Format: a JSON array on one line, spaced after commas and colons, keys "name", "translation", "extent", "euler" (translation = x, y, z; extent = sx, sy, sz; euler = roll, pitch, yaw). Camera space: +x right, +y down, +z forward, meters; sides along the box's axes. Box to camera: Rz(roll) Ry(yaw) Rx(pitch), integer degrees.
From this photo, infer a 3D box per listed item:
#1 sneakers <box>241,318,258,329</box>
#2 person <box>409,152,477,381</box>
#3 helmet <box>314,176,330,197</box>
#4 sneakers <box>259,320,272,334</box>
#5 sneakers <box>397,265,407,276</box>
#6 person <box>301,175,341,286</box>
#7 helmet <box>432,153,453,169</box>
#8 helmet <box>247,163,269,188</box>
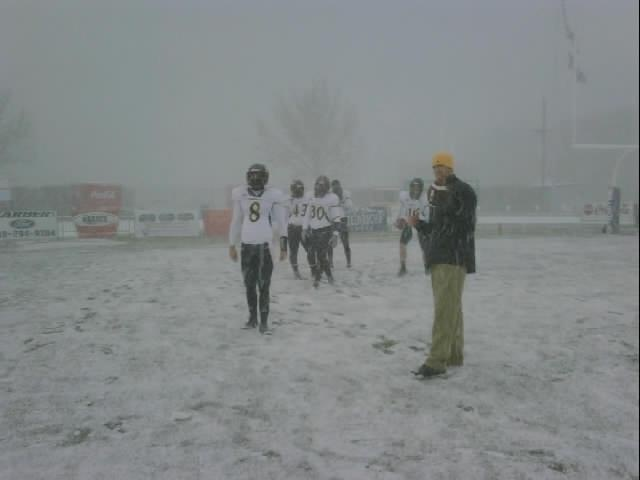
[{"name": "sneakers", "translation": [-1.034, 1.220, 7.925], "extent": [0.226, 0.197, 0.105], "euler": [0, 0, -28]}, {"name": "person", "translation": [1.413, 0.294, 6.216], "extent": [0.666, 2.543, 0.483], "euler": [2, 7, 16]}, {"name": "helmet", "translation": [0.033, -0.966, 9.935], "extent": [0.286, 0.367, 0.291], "euler": [-2, 7, -9]}, {"name": "sneakers", "translation": [-0.725, 1.235, 7.594], "extent": [0.101, 0.188, 0.232], "euler": [7, -12, -40]}, {"name": "sneakers", "translation": [1.757, 0.659, 11.661], "extent": [0.223, 0.264, 0.117], "euler": [3, 3, 14]}, {"name": "person", "translation": [0.011, -0.141, 10.205], "extent": [0.665, 2.071, 0.652], "euler": [-1, 7, -1]}, {"name": "helmet", "translation": [1.361, -0.878, 6.041], "extent": [0.207, 0.180, 0.323], "euler": [1, 8, 10]}, {"name": "helmet", "translation": [-0.863, -0.861, 7.453], "extent": [0.269, 0.325, 0.217], "euler": [-2, 7, -9]}]
